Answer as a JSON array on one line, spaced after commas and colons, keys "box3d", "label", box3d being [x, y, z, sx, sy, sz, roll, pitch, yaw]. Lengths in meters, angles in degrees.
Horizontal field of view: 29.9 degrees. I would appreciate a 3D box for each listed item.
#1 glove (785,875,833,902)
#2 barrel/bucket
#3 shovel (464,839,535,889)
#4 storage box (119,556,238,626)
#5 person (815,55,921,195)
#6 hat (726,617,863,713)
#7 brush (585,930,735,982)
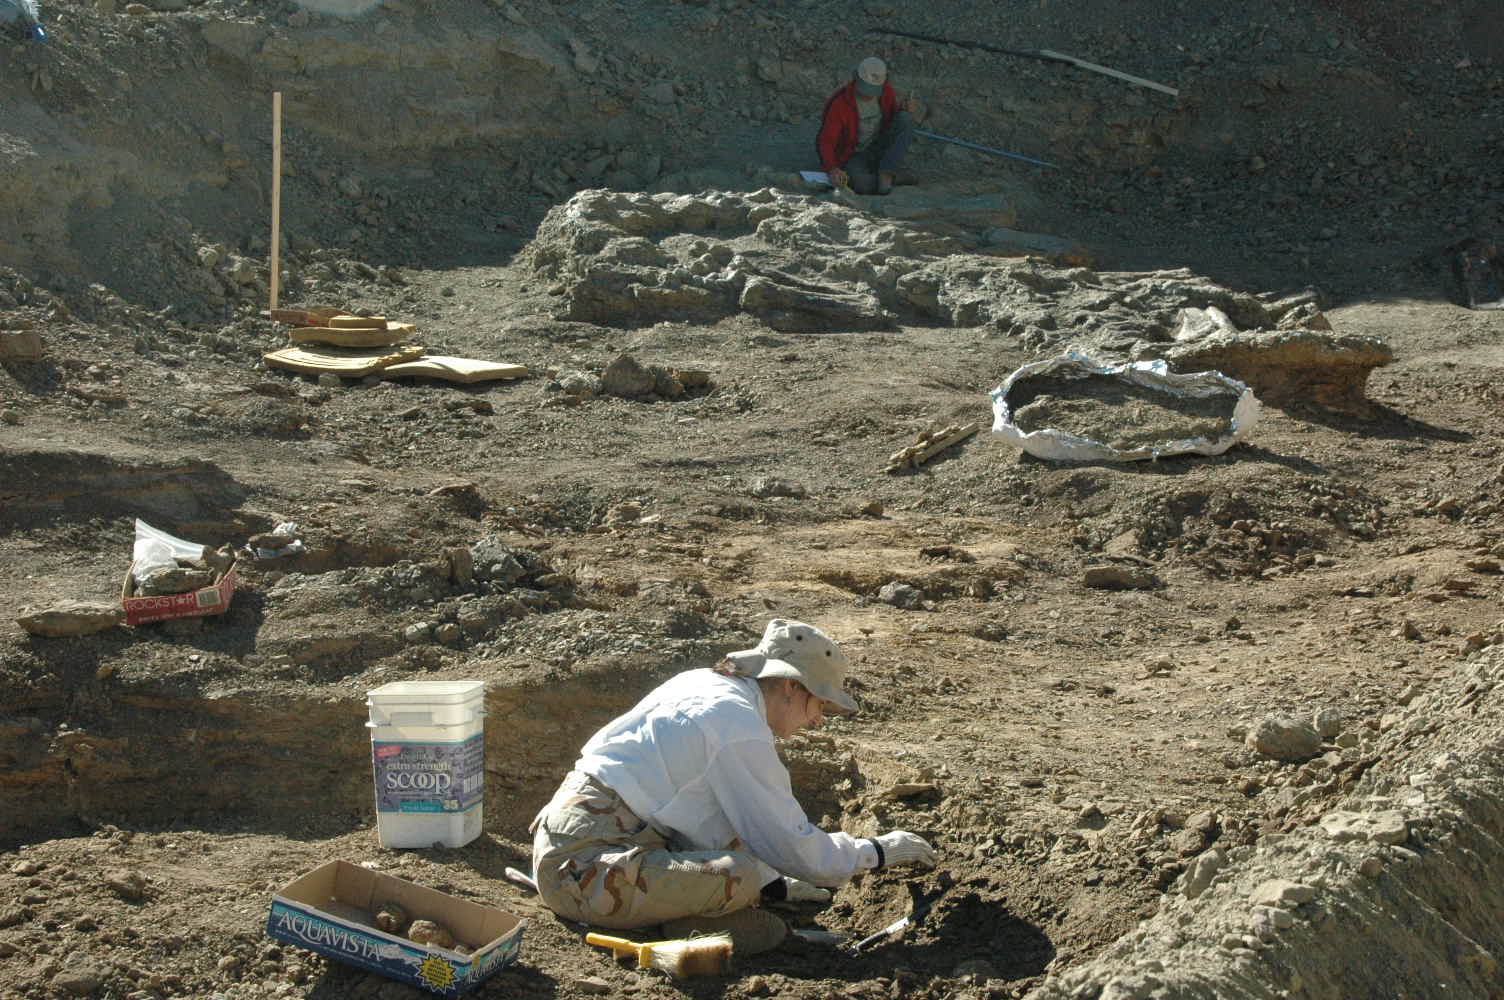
[{"box3d": [0.392, 2.563, 18.423, 0.303, 0.074, 0.137, 4, 33, 6], "label": "glove"}, {"box3d": [-2.124, 1.720, 18.720, 0.921, 1.023, 0.933, 0, 13, 0], "label": "barrel/bucket"}, {"box3d": [-1.658, 2.387, 18.558, 0.422, 0.073, 0.344, 11, 22, -9], "label": "shovel"}, {"box3d": [-3.941, 0.659, 19.462, 0.868, 0.320, 0.332, -4, 34, -22], "label": "storage box"}, {"box3d": [1.143, -3.556, 26.751, 0.716, 1.310, 1.308, 28, 35, 22], "label": "person"}, {"box3d": [0.379, 1.087, 18.459, 0.825, 0.313, 0.579, 20, -2, -11], "label": "hat"}, {"box3d": [-0.585, 2.876, 17.959, 0.940, 0.304, 0.232, 11, 32, 4], "label": "brush"}]
